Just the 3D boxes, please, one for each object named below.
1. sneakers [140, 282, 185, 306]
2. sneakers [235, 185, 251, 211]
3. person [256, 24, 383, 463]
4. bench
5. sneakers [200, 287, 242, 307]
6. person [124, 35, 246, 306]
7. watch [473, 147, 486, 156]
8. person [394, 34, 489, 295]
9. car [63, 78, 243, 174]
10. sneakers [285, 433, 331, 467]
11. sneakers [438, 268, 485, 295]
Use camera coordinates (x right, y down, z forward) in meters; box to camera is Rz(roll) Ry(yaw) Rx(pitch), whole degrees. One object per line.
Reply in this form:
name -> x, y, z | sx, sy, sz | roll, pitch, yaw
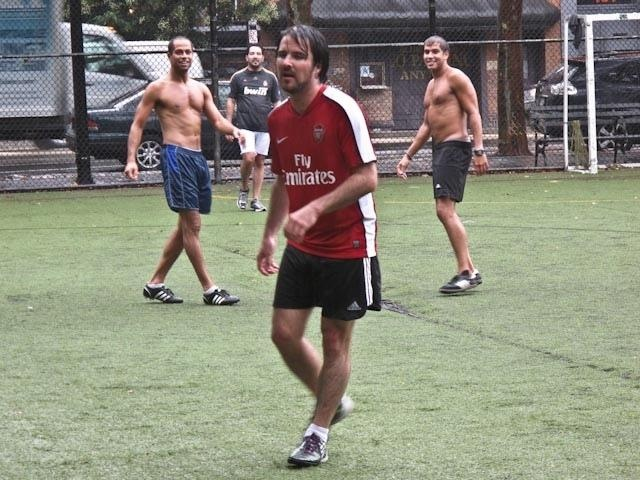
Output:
sneakers -> -1.265, 0.426, 7.484 | 0.362, 0.152, 0.134 | 9, 8, -6
sneakers -> -1.057, -0.675, 12.869 | 0.141, 0.421, 0.165 | 10, -40, -21
person -> 0.015, -0.016, 4.690 | 0.555, 2.087, 0.728 | -3, 9, -10
bench -> 5.254, -2.093, 18.646 | 1.933, 1.197, 3.516 | 5, 11, 32
sneakers -> -0.780, 0.457, 7.353 | 0.311, 0.133, 0.118 | 0, -1, 9
person -> -1.105, -0.456, 7.521 | 0.951, 1.858, 0.743 | 0, 9, 4
watch -> 1.384, -0.769, 8.178 | 0.080, 0.045, 0.088 | 0, 5, -7
person -> 1.068, -0.676, 7.939 | 0.688, 2.056, 1.190 | -2, 9, -3
car -> -2.920, -2.114, 17.388 | 3.472, 1.222, 1.444 | -6, 10, -21
sneakers -> -0.052, 1.012, 4.530 | 0.094, 0.109, 0.238 | 0, -3, 25
sneakers -> 1.142, 0.346, 7.648 | 0.414, 0.180, 0.146 | -17, 7, -26
